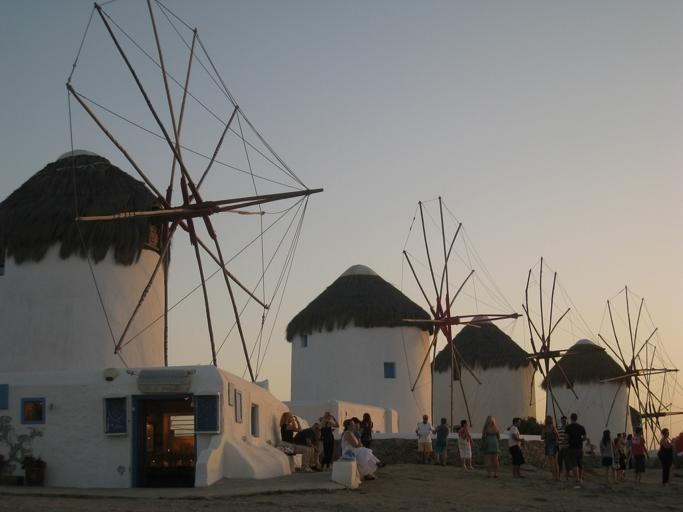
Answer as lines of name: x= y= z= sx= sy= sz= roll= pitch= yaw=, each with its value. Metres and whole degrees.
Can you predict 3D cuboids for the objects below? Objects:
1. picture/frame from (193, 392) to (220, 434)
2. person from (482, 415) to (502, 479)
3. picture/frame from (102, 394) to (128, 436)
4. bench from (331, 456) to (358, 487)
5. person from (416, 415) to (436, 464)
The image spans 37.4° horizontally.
picture/frame: x=-3.139 y=3.706 z=23.829 sx=0.757 sy=1.256 sz=0.264 roll=0 pitch=-11 yaw=-2
person: x=3.847 y=4.924 z=26.092 sx=0.388 sy=1.513 sz=1.669 roll=-3 pitch=-15 yaw=9
picture/frame: x=-5.320 y=3.793 z=23.916 sx=0.768 sy=1.325 sz=0.138 roll=0 pitch=-11 yaw=-3
bench: x=0.151 y=4.947 z=23.186 sx=0.515 sy=0.549 sz=0.553 roll=-3 pitch=-8 yaw=32
person: x=2.404 y=5.214 z=29.358 sx=0.399 sy=1.330 sz=0.350 roll=1 pitch=23 yaw=5
